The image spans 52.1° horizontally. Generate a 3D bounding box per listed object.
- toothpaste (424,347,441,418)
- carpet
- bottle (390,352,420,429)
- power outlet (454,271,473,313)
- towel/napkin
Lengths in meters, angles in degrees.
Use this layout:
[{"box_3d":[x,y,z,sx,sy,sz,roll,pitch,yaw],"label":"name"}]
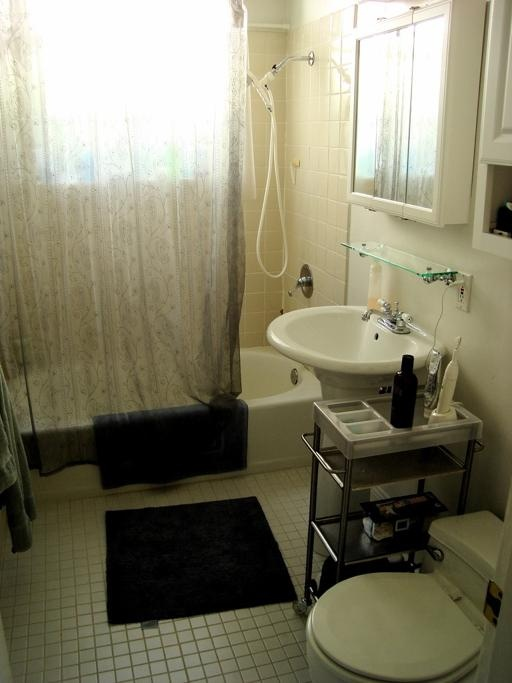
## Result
[{"box_3d":[0.497,0.125,1.511,0.036,0.203,0.041,4,29,11],"label":"toothpaste"},{"box_3d":[-0.249,0.805,2.005,0.710,0.017,0.628,-3,17,-9],"label":"carpet"},{"box_3d":[0.388,0.134,1.431,0.040,0.196,0.075,-3,23,-15],"label":"bottle"},{"box_3d":[0.649,-0.155,1.655,0.049,0.119,0.045,6,14,25],"label":"power outlet"},{"box_3d":[-0.374,0.470,2.364,0.665,0.341,0.050,-4,13,-15],"label":"towel/napkin"}]
